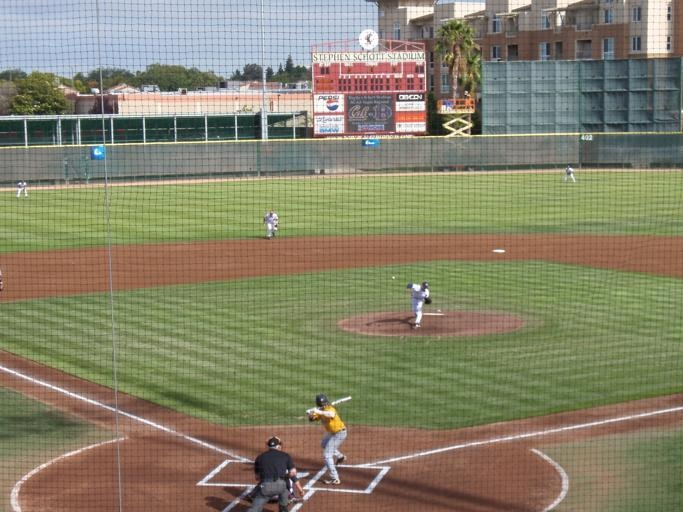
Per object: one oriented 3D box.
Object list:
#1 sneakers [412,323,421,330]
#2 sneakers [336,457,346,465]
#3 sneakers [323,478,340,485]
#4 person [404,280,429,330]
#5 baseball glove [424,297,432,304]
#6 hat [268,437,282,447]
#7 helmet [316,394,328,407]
[{"bbox_3d":[2.705,2.565,52.144,0.262,0.180,0.372,4,7,2],"label":"sneakers"},{"bbox_3d":[-0.057,6.515,45.501,0.218,0.163,0.490,-16,-14,22],"label":"sneakers"},{"bbox_3d":[-0.322,7.129,45.037,0.502,0.215,0.184,7,10,1],"label":"sneakers"},{"bbox_3d":[2.835,1.675,52.397,0.727,1.697,1.268,0,12,4],"label":"person"},{"bbox_3d":[3.114,1.623,51.889,0.222,0.240,0.278,-4,3,0],"label":"baseball glove"},{"bbox_3d":[-2.130,5.716,44.172,0.381,0.333,0.624,2,-6,13],"label":"hat"},{"bbox_3d":[-0.641,4.573,45.354,0.311,0.390,0.378,5,-8,-1],"label":"helmet"}]
